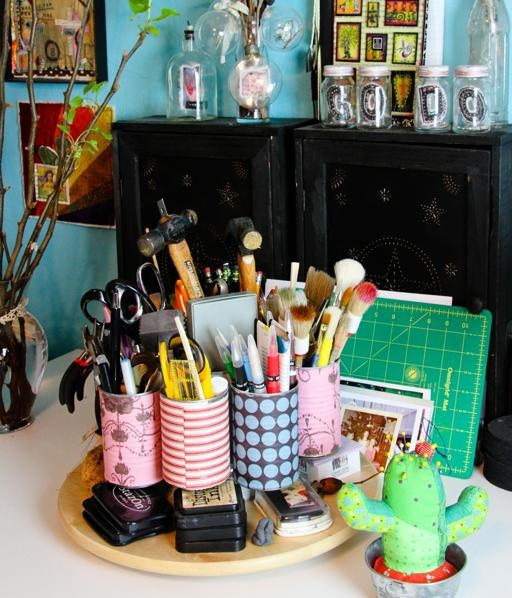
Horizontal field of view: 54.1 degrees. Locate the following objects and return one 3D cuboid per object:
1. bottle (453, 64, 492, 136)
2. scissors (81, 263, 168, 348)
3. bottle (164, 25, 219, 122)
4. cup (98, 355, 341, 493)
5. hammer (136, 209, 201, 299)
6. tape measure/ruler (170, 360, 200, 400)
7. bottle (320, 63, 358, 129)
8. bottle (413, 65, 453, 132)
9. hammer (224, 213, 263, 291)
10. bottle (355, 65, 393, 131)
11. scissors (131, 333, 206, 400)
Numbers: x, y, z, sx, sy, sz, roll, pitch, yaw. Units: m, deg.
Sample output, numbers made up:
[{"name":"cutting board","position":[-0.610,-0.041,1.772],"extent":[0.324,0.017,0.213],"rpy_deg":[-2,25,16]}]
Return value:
[{"name":"bottle","position":[0.324,-0.299,0.750],"extent":[0.046,0.095,0.051],"rpy_deg":[-7,22,4]},{"name":"scissors","position":[-0.169,0.018,0.648],"extent":[0.014,0.130,0.109],"rpy_deg":[-3,18,45]},{"name":"bottle","position":[-0.137,-0.477,1.079],"extent":[0.088,0.187,0.091],"rpy_deg":[0,9,0]},{"name":"cup","position":[-0.017,0.128,0.611],"extent":[0.203,0.152,0.118],"rpy_deg":[-11,15,-16]},{"name":"hammer","position":[-0.106,-0.052,0.728],"extent":[0.082,0.161,0.032],"rpy_deg":[-40,53,-23]},{"name":"tape measure/ruler","position":[-0.076,0.082,0.505],"extent":[0.017,0.037,0.004],"rpy_deg":[-5,-16,-22]},{"name":"bottle","position":[0.147,-0.356,0.874],"extent":[0.056,0.104,0.062],"rpy_deg":[-3,33,6]},{"name":"bottle","position":[0.275,-0.305,0.774],"extent":[0.052,0.102,0.045],"rpy_deg":[1,6,17]},{"name":"hammer","position":[-0.015,-0.071,0.750],"extent":[0.022,0.104,0.081],"rpy_deg":[-9,51,-11]},{"name":"bottle","position":[0.204,-0.346,0.861],"extent":[0.059,0.124,0.140],"rpy_deg":[0,6,11]},{"name":"scissors","position":[-0.091,0.082,0.538],"extent":[0.054,0.086,0.029],"rpy_deg":[-22,-11,-17]}]
